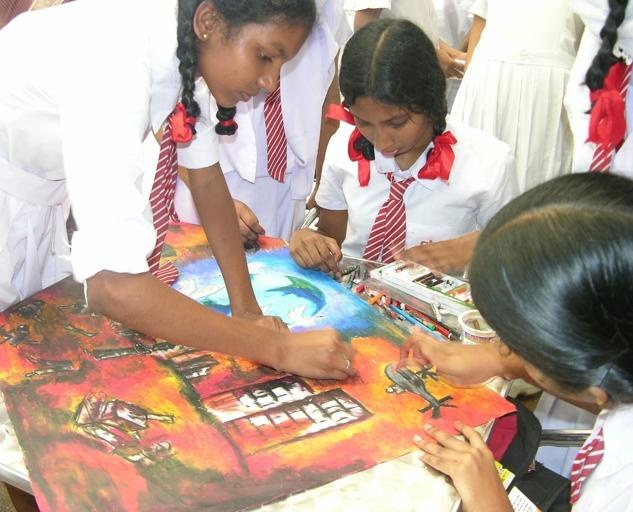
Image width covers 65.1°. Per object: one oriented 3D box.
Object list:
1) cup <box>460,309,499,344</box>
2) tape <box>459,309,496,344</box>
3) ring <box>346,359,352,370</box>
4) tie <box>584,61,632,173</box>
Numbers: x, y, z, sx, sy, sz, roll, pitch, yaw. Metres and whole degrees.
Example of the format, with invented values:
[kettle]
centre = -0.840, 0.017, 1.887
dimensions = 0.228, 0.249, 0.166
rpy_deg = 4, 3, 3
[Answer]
[cup]
centre = 0.400, 0.177, 1.260
dimensions = 0.094, 0.058, 0.095
rpy_deg = 1, 24, 0
[tape]
centre = 0.397, 0.177, 1.265
dimensions = 0.094, 0.058, 0.095
rpy_deg = 15, 28, 29
[ring]
centre = 0.073, 0.245, 1.118
dimensions = 0.013, 0.018, 0.019
rpy_deg = -3, 6, -11
[tie]
centre = 1.147, -0.544, 1.944
dimensions = 0.154, 0.403, 0.261
rpy_deg = 9, 30, 26
